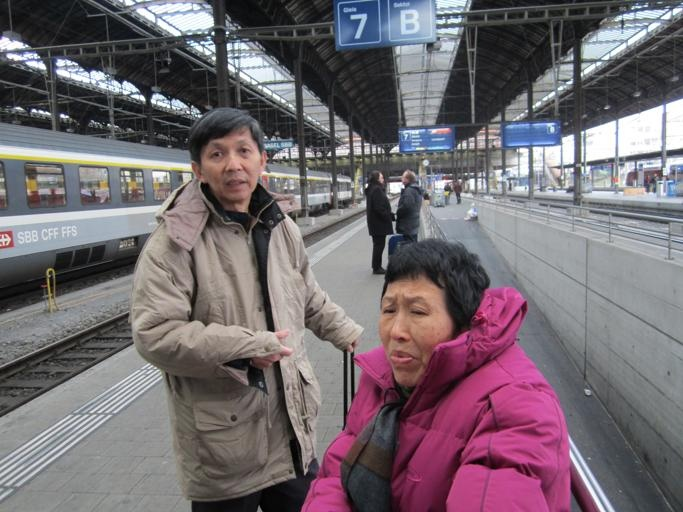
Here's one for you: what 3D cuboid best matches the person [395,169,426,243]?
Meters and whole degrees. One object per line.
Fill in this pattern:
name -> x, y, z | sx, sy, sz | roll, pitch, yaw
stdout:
person -> 1.284, -0.941, 9.021 | 0.510, 1.362, 1.020 | 0, 9, 7
